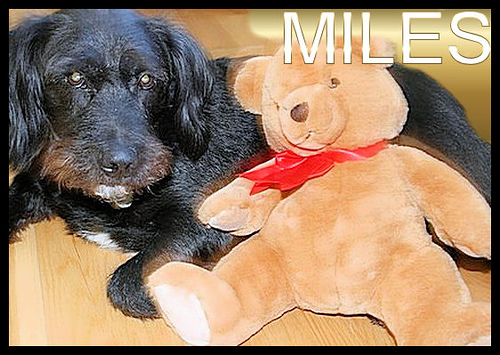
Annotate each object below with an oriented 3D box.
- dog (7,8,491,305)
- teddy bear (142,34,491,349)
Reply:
[{"bbox_3d":[-0.144,-0.160,2.090,1.430,0.718,1.120,-12,15,-22],"label":"dog"},{"bbox_3d":[0.305,-0.238,1.912,1.085,0.884,0.983,-3,25,16],"label":"teddy bear"}]
